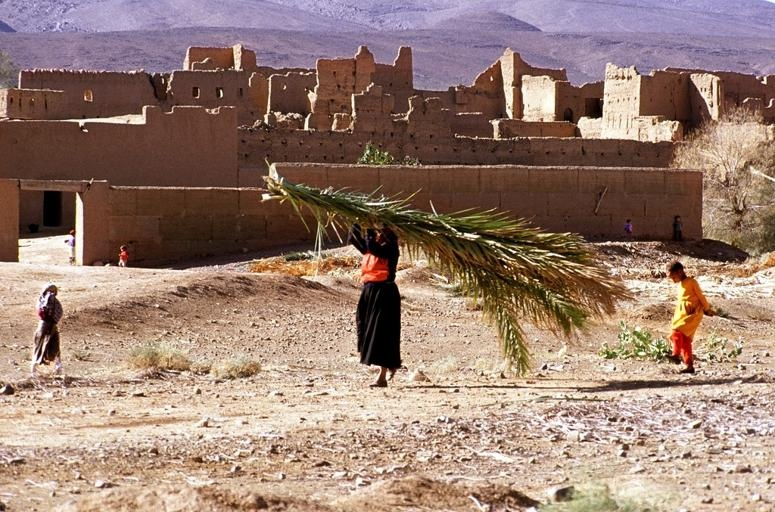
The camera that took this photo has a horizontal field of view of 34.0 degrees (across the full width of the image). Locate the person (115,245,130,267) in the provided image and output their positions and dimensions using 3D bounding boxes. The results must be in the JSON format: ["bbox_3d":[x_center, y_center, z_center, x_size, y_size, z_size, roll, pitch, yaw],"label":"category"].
[{"bbox_3d":[-6.869,0.058,32.752,0.279,0.585,1.036,-1,14,-12],"label":"person"}]

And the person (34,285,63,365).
[{"bbox_3d":[-6.340,1.327,23.408,0.535,1.519,0.775,-2,14,-15],"label":"person"}]

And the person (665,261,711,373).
[{"bbox_3d":[5.809,1.269,24.587,0.954,0.755,1.930,12,48,4],"label":"person"}]

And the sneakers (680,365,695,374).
[{"bbox_3d":[5.406,2.045,22.813,0.269,0.116,0.283,5,14,13],"label":"sneakers"}]

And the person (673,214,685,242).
[{"bbox_3d":[8.794,-0.852,38.218,0.351,0.744,0.242,-5,15,-27],"label":"person"}]

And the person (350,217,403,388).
[{"bbox_3d":[-0.198,0.900,22.483,0.913,2.879,0.702,3,14,7],"label":"person"}]

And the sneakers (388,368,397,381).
[{"bbox_3d":[0.061,2.146,22.927,0.187,0.259,0.091,-16,24,-23],"label":"sneakers"}]

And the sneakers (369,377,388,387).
[{"bbox_3d":[-0.161,2.269,22.560,0.347,0.138,0.125,4,-3,17],"label":"sneakers"}]
